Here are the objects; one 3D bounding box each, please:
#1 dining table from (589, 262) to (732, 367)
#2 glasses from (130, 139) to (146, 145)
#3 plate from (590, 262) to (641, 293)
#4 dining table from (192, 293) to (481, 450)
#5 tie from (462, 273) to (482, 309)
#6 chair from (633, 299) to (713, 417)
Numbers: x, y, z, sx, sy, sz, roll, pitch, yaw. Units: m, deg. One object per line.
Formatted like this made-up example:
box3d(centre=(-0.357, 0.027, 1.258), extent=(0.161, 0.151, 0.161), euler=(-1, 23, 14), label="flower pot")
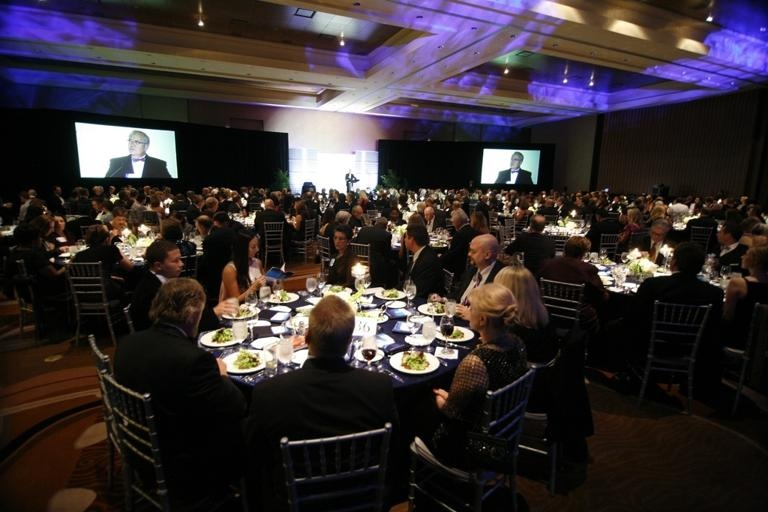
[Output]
box3d(centre=(3.402, 0.757, 6.276), extent=(0.993, 1.731, 1.088), euler=(1, 36, 12), label="dining table")
box3d(centre=(-7.165, -3.365, 15.126), extent=(0.053, 0.095, 0.516), euler=(8, 12, 38), label="glasses")
box3d(centre=(3.169, 0.321, 6.938), extent=(0.436, 0.107, 0.456), euler=(8, 24, 22), label="plate")
box3d(centre=(-0.467, 0.539, 4.588), extent=(2.109, 1.846, 1.109), euler=(-2, 27, -10), label="dining table")
box3d(centre=(1.090, 0.413, 6.227), extent=(0.239, 0.106, 0.405), euler=(-35, 17, 43), label="tie")
box3d(centre=(3.466, 1.186, 6.213), extent=(0.692, 1.368, 0.474), euler=(2, 10, 12), label="chair")
